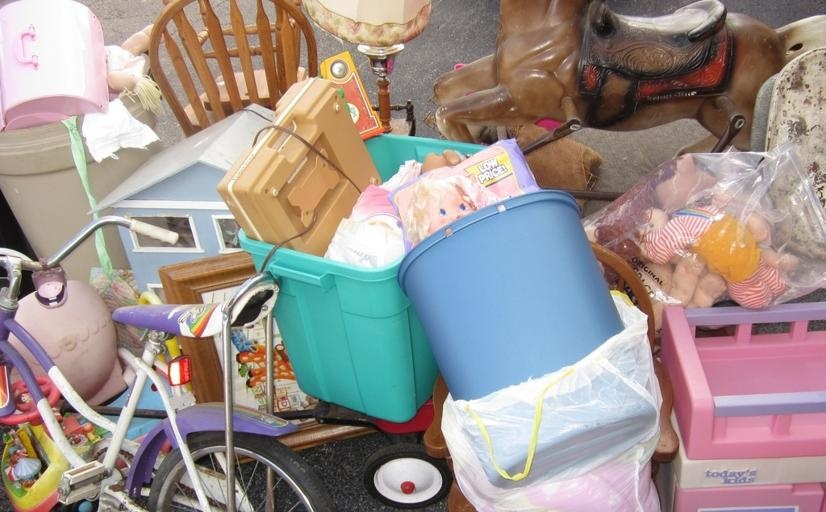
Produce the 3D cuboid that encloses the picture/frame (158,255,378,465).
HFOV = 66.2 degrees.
[{"bbox_3d":[-0.564,0.376,2.408,0.927,0.933,0.068,-4,26,2],"label":"picture/frame"}]

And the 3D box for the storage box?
[{"bbox_3d":[-0.175,0.086,2.281,0.608,0.711,0.958,-5,30,34],"label":"storage box"}]

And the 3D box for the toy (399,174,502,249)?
[{"bbox_3d":[0.125,-0.156,2.327,0.283,0.082,0.297,-26,75,4],"label":"toy"}]

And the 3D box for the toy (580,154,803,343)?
[{"bbox_3d":[1.113,-0.067,2.534,0.771,0.607,0.448,6,35,16],"label":"toy"}]
